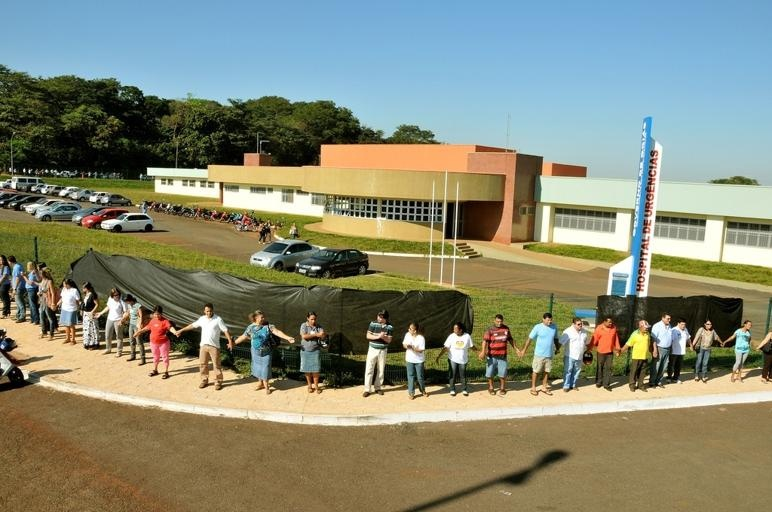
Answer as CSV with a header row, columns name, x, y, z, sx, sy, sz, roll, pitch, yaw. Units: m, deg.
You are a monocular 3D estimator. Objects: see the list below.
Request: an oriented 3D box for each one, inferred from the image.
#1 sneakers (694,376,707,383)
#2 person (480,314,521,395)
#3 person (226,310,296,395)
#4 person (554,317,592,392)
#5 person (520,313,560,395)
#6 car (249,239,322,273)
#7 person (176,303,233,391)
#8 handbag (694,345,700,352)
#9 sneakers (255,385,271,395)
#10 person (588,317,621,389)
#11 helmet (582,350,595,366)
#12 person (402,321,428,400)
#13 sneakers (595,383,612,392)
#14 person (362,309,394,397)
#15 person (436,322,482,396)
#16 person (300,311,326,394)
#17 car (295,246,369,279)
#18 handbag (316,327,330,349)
name,x,y,z,sx,sy,sz,roll,pitch,yaw
sneakers,11.231,4.441,33.953,0.486,0.179,0.160,0,12,8
person,3.835,3.339,32.390,0.996,2.718,1.567,5,6,16
person,-4.148,3.223,31.939,1.588,2.714,0.816,2,6,-12
person,6.461,3.358,32.734,0.989,2.606,1.330,4,6,11
person,5.351,3.331,32.534,1.116,2.774,1.094,4,6,10
car,-5.203,-0.062,47.948,1.557,1.208,2.880,3,3,44
person,-5.923,3.043,32.125,1.409,2.818,0.888,6,7,31
handbag,11.153,3.329,34.111,0.063,0.232,0.256,7,-9,-10
sneakers,-4.094,4.509,31.938,0.505,0.149,0.278,16,8,26
person,7.665,3.357,33.214,1.015,2.531,1.112,4,6,13
helmet,6.918,3.509,32.784,0.391,0.482,0.517,-2,5,3
person,1.036,3.511,32.051,0.854,2.592,0.871,4,6,13
sneakers,7.572,4.607,33.025,0.202,0.237,0.580,-6,6,-43
person,-0.255,3.283,32.142,0.864,2.873,0.852,3,6,-1
person,2.437,3.485,32.300,1.031,2.511,0.882,3,6,4
person,-2.464,3.238,32.025,0.843,2.718,0.578,2,6,-5
car,-2.688,0.380,47.248,1.392,0.987,3.088,2,0,42
handbag,-2.092,2.792,31.871,0.245,0.639,0.486,-3,9,-16
